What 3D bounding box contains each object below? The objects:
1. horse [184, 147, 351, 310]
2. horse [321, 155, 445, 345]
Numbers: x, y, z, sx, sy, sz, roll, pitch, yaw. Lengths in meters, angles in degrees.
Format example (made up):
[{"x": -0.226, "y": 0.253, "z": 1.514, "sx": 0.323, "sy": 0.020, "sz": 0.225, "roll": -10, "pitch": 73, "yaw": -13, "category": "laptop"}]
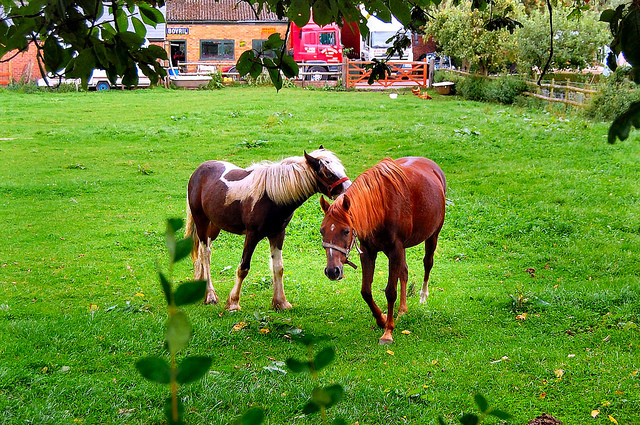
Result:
[{"x": -1.414, "y": 0.305, "z": 13.768, "sx": 4.496, "sy": 3.328, "sz": 1.237, "roll": 5, "pitch": 5, "yaw": 38, "category": "horse"}, {"x": 0.616, "y": 0.808, "z": 13.059, "sx": 2.359, "sy": 3.502, "sz": 2.743, "roll": 7, "pitch": 15, "yaw": 26, "category": "horse"}]
